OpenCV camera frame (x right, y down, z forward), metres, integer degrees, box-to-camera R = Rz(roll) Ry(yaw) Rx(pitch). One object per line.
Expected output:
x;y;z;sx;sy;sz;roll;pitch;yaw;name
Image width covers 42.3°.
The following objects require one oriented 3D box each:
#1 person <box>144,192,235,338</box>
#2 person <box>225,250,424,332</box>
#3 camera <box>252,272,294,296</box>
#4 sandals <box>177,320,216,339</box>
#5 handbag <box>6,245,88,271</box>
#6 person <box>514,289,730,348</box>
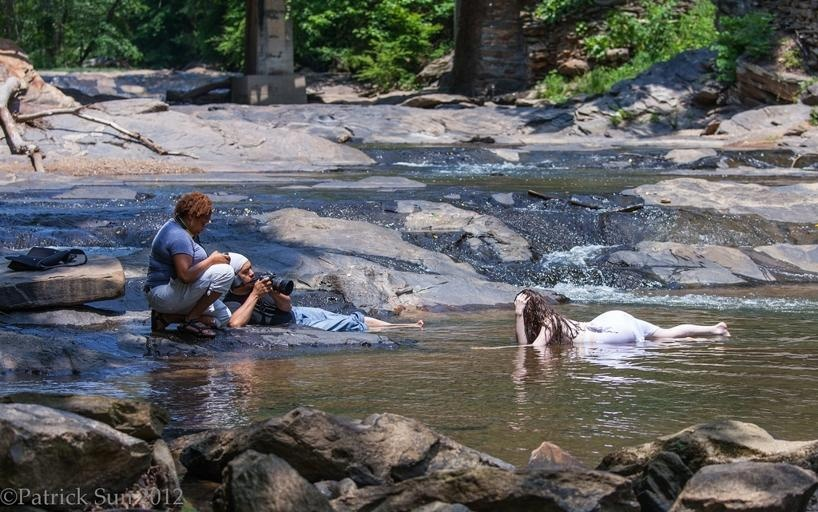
-3.144;0.100;15.140;1.209;2.047;0.514;1;7;-9;person
-1.283;0.669;16.160;3.340;0.820;1.002;4;14;2;person
-1.987;0.401;15.858;0.588;0.215;0.498;14;18;32;camera
-3.064;1.037;15.246;0.632;0.154;0.206;3;16;16;sandals
-5.441;0.029;15.972;1.143;0.320;0.538;0;5;-15;handbag
2.961;0.894;15.776;2.774;0.818;0.382;0;7;-13;person
